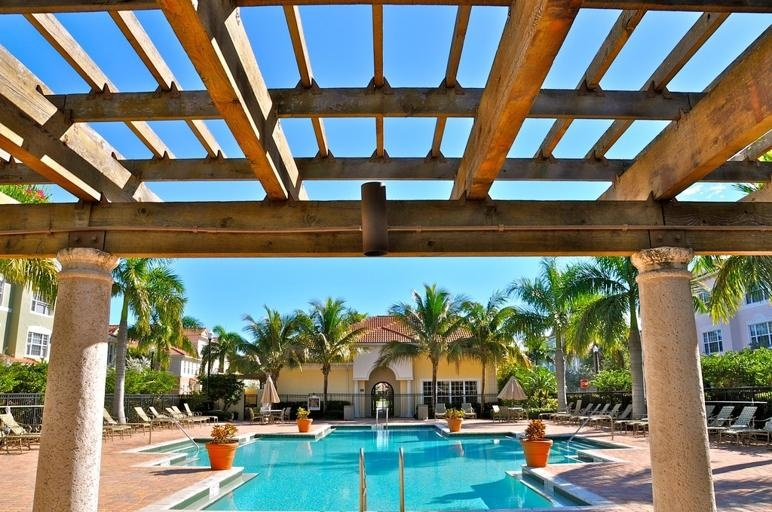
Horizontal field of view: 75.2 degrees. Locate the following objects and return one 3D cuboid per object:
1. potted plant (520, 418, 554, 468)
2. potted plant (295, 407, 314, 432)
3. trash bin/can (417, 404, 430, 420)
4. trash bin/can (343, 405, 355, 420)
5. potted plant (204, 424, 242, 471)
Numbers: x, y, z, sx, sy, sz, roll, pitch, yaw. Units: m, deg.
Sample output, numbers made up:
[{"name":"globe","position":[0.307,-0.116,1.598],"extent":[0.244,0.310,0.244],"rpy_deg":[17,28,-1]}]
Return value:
[{"name":"potted plant","position":[3.566,4.525,12.116],"extent":[0.816,0.989,0.806],"rpy_deg":[2,-16,1]},{"name":"potted plant","position":[-3.558,6.985,21.322],"extent":[0.483,0.992,1.310],"rpy_deg":[0,-17,-8]},{"name":"trash bin/can","position":[2.025,9.215,29.591],"extent":[0.902,1.188,0.866],"rpy_deg":[1,-13,-6]},{"name":"trash bin/can","position":[-2.347,9.563,30.679],"extent":[0.648,0.849,1.226],"rpy_deg":[0,-12,5]},{"name":"potted plant","position":[-3.855,4.503,11.823],"extent":[0.780,0.881,0.775],"rpy_deg":[-1,-21,2]}]
